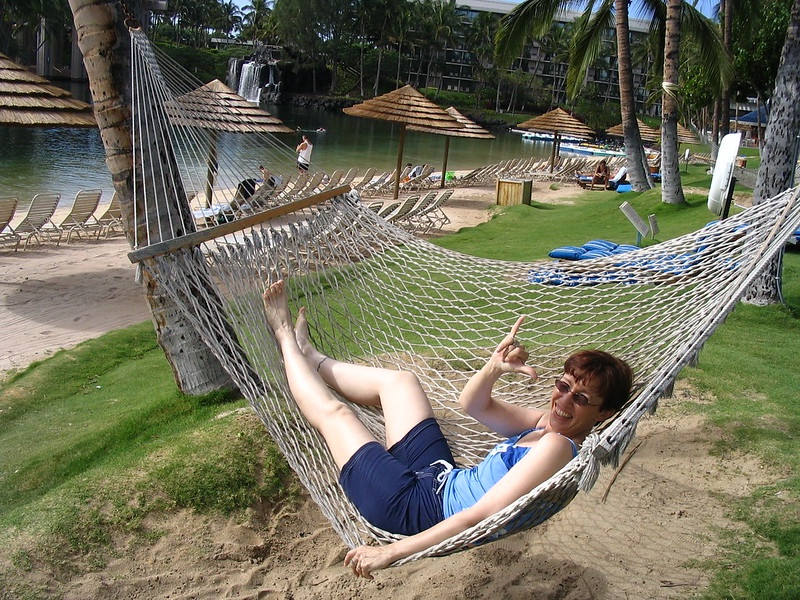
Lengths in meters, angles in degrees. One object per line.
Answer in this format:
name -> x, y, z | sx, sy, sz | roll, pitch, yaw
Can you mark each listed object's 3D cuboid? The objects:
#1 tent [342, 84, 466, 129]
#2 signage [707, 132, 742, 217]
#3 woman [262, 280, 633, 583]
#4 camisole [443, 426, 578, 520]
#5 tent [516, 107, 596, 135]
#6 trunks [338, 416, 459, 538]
tent -> -0.028, -4.576, 14.035 | 1.716, 0.480, 1.708 | 19, 24, 17
signage -> 3.000, -1.165, 5.397 | 0.054, 0.571, 0.467 | 21, 13, 36
woman -> 0.031, 0.595, 3.038 | 1.785, 1.094, 1.087 | 21, 12, 40
camisole -> 0.407, 0.826, 2.711 | 0.410, 0.285, 0.247 | 1, 19, 2
tent -> 5.965, -6.528, 21.726 | 2.051, 0.745, 1.877 | 12, 22, 25
trunks -> 0.016, 0.823, 2.787 | 0.487, 0.216, 0.521 | -4, 19, -5
